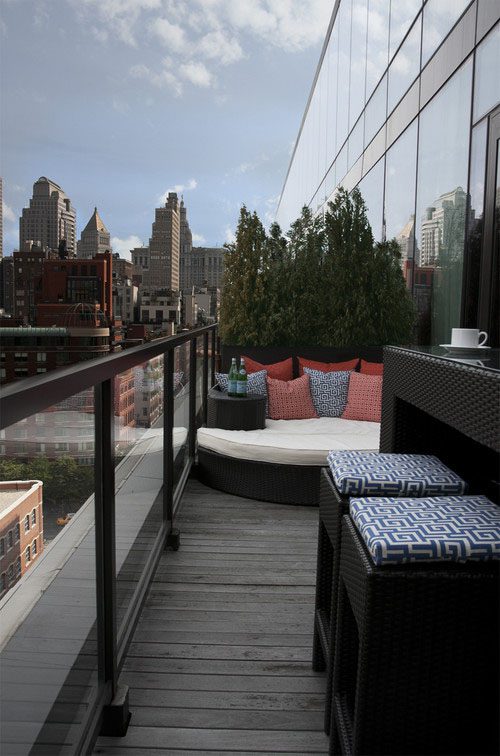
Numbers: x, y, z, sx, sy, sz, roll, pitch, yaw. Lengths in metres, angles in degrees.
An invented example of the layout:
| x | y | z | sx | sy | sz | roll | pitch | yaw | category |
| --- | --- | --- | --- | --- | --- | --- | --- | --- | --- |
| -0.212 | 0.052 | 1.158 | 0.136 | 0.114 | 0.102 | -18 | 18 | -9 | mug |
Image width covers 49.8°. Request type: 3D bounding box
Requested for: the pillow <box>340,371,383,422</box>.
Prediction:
| x | y | z | sx | sy | sz | roll | pitch | yaw | category |
| --- | --- | --- | --- | --- | --- | --- | --- | --- | --- |
| 0.857 | 0.144 | 4.017 | 0.332 | 0.408 | 0.104 | 4 | -11 | 35 | pillow |

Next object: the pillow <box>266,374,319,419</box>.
| x | y | z | sx | sy | sz | roll | pitch | yaw | category |
| --- | --- | --- | --- | --- | --- | --- | --- | --- | --- |
| 0.304 | 0.152 | 4.035 | 0.325 | 0.322 | 0.244 | 4 | 9 | -25 | pillow |

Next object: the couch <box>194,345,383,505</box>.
| x | y | z | sx | sy | sz | roll | pitch | yaw | category |
| --- | --- | --- | --- | --- | --- | --- | --- | --- | --- |
| 0.430 | 0.349 | 3.838 | 1.504 | 0.810 | 1.748 | -2 | 5 | -10 | couch |
